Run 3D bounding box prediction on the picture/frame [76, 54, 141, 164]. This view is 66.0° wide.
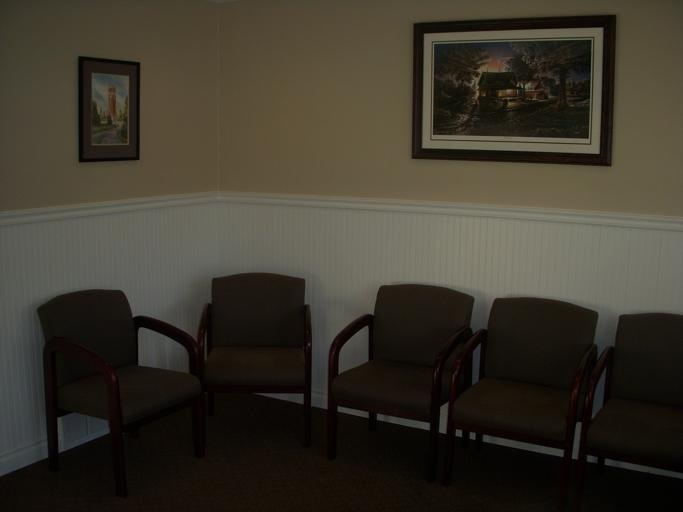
[{"bbox_3d":[-1.724,-1.073,3.894,0.062,0.728,0.503,6,12,32],"label":"picture/frame"}]
